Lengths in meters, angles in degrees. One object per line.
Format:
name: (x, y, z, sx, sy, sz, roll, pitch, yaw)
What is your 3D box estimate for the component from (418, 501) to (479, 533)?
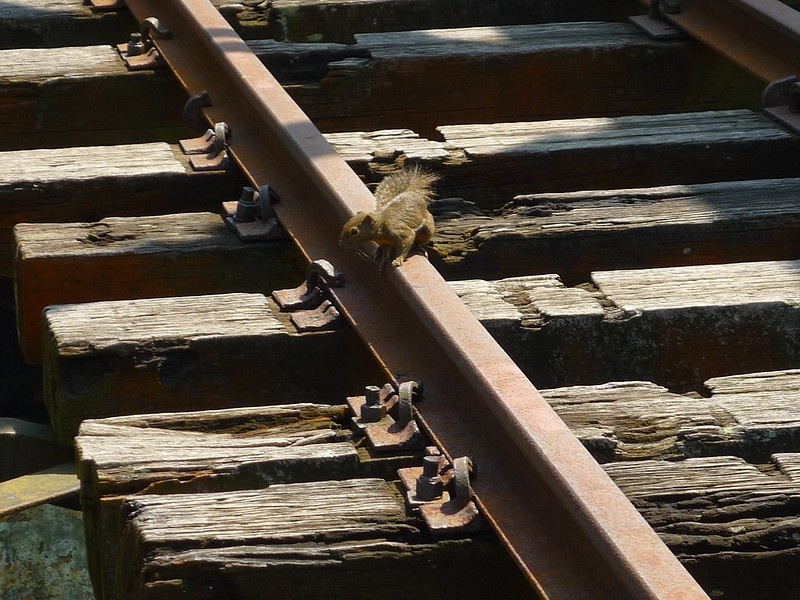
component: (0.093, 0.407, 2.049, 0.081, 0.038, 0.067, 7, 20, -15)

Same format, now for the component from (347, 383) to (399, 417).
component: (-0.043, 0.208, 2.283, 0.090, 0.041, 0.078, -5, 14, -19)

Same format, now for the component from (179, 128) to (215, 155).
component: (-0.604, -0.466, 3.290, 0.107, 0.038, 0.118, 1, 19, -15)

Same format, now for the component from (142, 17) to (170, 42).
component: (-0.869, -0.974, 3.952, 0.104, 0.058, 0.150, -6, 33, -10)

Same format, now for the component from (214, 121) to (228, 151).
component: (-0.517, -0.485, 3.221, 0.063, 0.065, 0.072, -1, -3, -3)

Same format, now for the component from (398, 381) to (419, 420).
component: (0.018, 0.207, 2.235, 0.025, 0.061, 0.069, 11, 25, 18)

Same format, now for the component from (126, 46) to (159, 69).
component: (-0.885, -0.840, 3.816, 0.125, 0.043, 0.124, -8, 34, -13)

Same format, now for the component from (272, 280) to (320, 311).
component: (-0.246, -0.014, 2.619, 0.091, 0.044, 0.080, -5, 27, -28)

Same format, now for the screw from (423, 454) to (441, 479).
screw: (0.060, 0.315, 2.076, 0.043, 0.034, 0.040, 2, 3, 19)

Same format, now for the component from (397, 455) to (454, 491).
component: (0.050, 0.333, 2.117, 0.087, 0.043, 0.080, -1, 14, -19)

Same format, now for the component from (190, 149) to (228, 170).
component: (-0.551, -0.412, 3.210, 0.114, 0.039, 0.103, -8, 34, -13)

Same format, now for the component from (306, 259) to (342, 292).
component: (-0.179, -0.055, 2.621, 0.105, 0.065, 0.030, -2, 8, 10)

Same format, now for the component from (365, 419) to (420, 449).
component: (-0.015, 0.273, 2.221, 0.074, 0.028, 0.085, 8, 15, -18)

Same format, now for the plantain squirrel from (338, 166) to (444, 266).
plantain squirrel: (-0.010, -0.203, 2.679, 0.156, 0.186, 0.367, 6, 28, 30)

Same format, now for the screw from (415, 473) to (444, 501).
screw: (0.055, 0.352, 2.071, 0.048, 0.034, 0.052, -6, 11, -43)

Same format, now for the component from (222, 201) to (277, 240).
component: (-0.384, -0.206, 2.871, 0.071, 0.035, 0.120, 1, 21, -29)

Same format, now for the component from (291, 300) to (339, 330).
component: (-0.194, 0.040, 2.549, 0.111, 0.027, 0.097, -10, 34, -16)

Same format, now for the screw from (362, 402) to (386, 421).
screw: (-0.050, 0.228, 2.261, 0.042, 0.024, 0.045, 3, 5, 38)
